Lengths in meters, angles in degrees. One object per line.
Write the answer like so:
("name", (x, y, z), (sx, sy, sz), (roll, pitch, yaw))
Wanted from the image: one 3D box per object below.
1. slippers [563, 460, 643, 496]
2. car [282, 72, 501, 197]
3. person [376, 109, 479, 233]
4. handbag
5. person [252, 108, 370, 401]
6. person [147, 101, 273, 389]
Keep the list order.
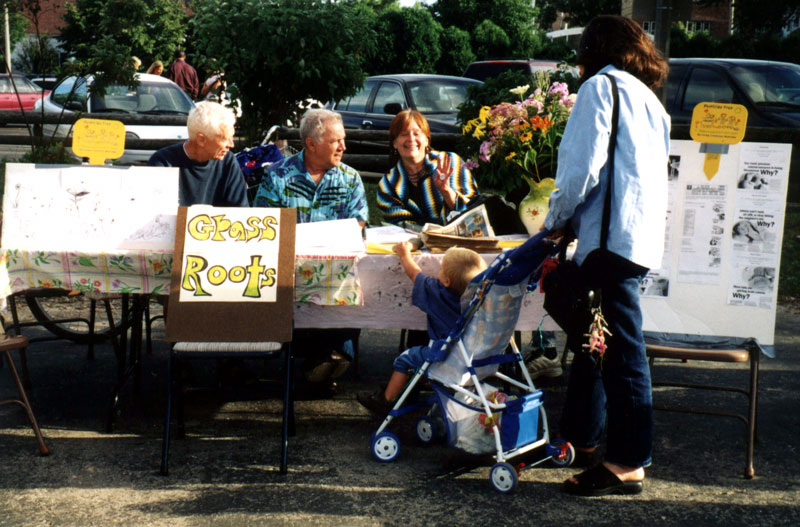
("slippers", (1.235, 1.341, 5.561), (0.497, 0.189, 0.206), (2, 7, 3))
("car", (0.087, -1.917, 11.732), (1.269, 1.035, 2.718), (-2, 0, -45))
("person", (0.219, -0.707, 6.865), (0.402, 0.873, 0.812), (-10, 14, -43))
("handbag", (1.034, 0.226, 5.504), (0.165, 0.315, 0.425), (-19, 62, -46))
("person", (-0.711, -0.090, 6.855), (0.736, 1.972, 0.844), (0, 3, -16))
("person", (-1.308, -0.040, 6.248), (0.995, 2.588, 1.109), (0, 3, -11))
